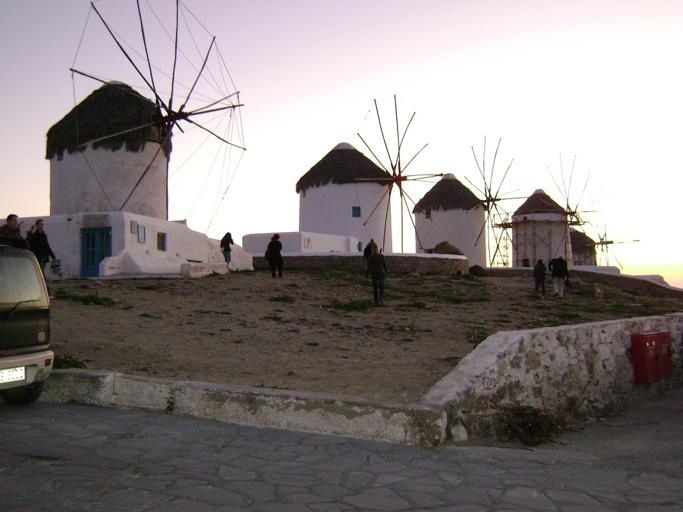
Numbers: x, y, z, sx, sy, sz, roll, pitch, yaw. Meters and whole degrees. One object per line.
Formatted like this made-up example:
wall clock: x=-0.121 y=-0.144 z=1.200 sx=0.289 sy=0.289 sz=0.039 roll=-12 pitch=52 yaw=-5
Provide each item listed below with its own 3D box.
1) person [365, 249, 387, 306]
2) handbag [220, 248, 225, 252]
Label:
person: x=1.021 y=0.566 z=20.675 sx=0.533 sy=1.722 sz=1.873 roll=3 pitch=5 yaw=2
handbag: x=-5.053 y=-0.232 z=29.957 sx=0.140 sy=0.166 sz=0.152 roll=4 pitch=-9 yaw=-43
